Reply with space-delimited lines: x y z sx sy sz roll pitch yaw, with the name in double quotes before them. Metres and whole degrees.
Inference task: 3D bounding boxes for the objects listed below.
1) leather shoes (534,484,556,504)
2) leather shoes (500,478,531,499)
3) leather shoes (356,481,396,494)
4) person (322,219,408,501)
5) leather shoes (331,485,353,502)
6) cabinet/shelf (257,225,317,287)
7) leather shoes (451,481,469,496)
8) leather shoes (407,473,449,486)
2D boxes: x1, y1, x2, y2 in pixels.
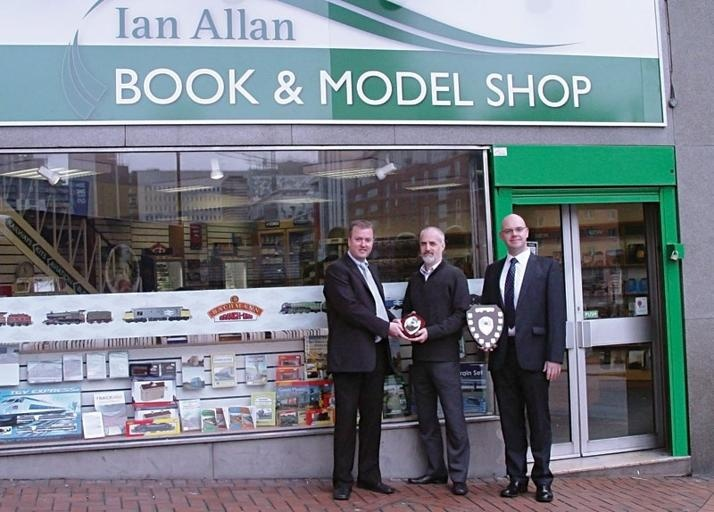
"leather shoes" 1.781 2.281 7.269 0.120 0.103 0.272 -2 -11 10
"leather shoes" 1.523 2.268 7.360 0.318 0.130 0.117 8 -13 -38
"leather shoes" 0.180 2.206 7.355 0.369 0.141 0.132 1 -6 19
"person" 0.041 0.970 7.307 0.703 2.584 0.596 1 6 -17
"leather shoes" -0.139 2.222 7.162 0.165 0.113 0.180 3 5 2
"cabinet/shelf" -0.708 0.041 7.957 0.555 0.734 0.319 -4 -21 -1
"leather shoes" 0.993 2.237 7.382 0.163 0.122 0.221 4 6 7
"leather shoes" 0.720 2.242 7.687 0.418 0.165 0.136 5 -9 2
